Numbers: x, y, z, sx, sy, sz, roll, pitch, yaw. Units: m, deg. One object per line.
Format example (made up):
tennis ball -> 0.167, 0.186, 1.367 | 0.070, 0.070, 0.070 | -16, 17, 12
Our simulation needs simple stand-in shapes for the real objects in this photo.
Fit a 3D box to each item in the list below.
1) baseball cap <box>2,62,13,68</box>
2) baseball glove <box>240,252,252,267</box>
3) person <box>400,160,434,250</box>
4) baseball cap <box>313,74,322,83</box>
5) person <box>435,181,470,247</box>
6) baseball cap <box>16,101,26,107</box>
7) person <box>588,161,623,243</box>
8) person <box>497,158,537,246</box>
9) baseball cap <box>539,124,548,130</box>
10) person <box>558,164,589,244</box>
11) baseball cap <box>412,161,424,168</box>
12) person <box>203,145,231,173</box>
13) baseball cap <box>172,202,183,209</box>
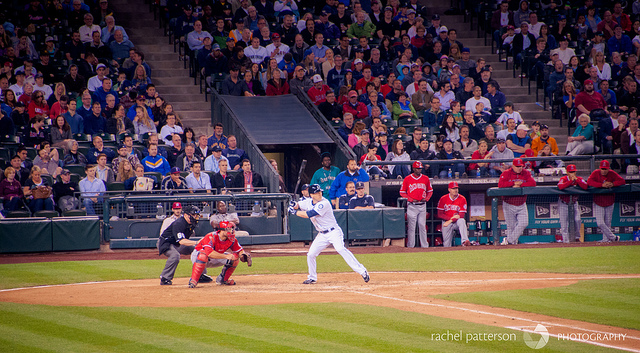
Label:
baseball cap -> -14.320, -5.124, 49.018 | 0.352, 0.132, 0.474 | 8, 3, -25
baseball glove -> -2.746, 3.124, 41.076 | 0.366, 0.573, 0.298 | 4, 39, 45
person -> 4.213, 1.182, 47.566 | 1.317, 3.733, 0.850 | -3, -6, 10
baseball cap -> -0.184, -4.698, 50.973 | 0.386, 0.182, 0.292 | -2, 13, 32
person -> 5.801, 1.616, 47.399 | 1.349, 2.862, 1.026 | -2, -6, 7
baseball cap -> -13.306, -3.245, 47.575 | 0.460, 0.133, 0.326 | 1, 1, 26
person -> 12.457, 1.059, 47.345 | 1.466, 3.495, 0.726 | 0, -6, -9
person -> 8.588, 1.061, 47.453 | 1.429, 3.777, 0.590 | -2, -6, 7
baseball cap -> 10.235, -2.333, 49.338 | 0.364, 0.246, 0.337 | 2, 10, 1
person -> 11.025, 1.177, 47.395 | 1.174, 3.416, 0.748 | -3, -6, 9
baseball cap -> 4.260, -0.564, 47.463 | 0.430, 0.290, 0.296 | -1, -6, -8
person -> -4.577, -0.670, 47.431 | 1.045, 1.510, 0.877 | -6, 12, -28
baseball cap -> -5.803, 1.119, 43.364 | 0.313, 0.190, 0.416 | 0, -2, -15
